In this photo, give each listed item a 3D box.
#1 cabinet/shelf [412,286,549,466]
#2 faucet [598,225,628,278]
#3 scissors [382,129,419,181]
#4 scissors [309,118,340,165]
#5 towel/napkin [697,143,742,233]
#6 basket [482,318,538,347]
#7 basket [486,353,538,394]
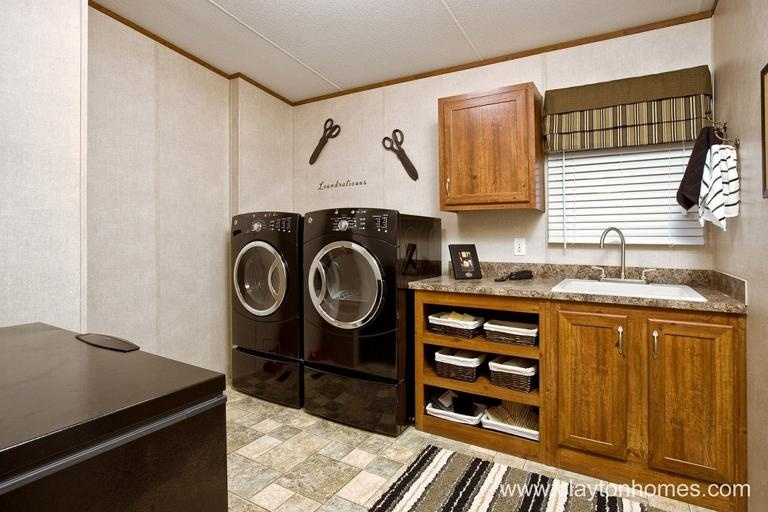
[{"bbox_3d":[0.662,0.828,3.545,1.155,1.085,0.404,-1,-2,26],"label":"cabinet/shelf"},{"bbox_3d":[1.626,-0.020,3.705,0.176,0.373,0.248,0,5,24],"label":"faucet"},{"bbox_3d":[0.179,-0.847,4.453,0.223,0.510,0.076,-34,-10,8],"label":"scissors"},{"bbox_3d":[-0.562,-1.062,4.855,0.360,0.422,0.078,2,6,35],"label":"scissors"},{"bbox_3d":[2.091,-0.441,3.251,0.174,0.517,0.303,0,5,21],"label":"towel/napkin"},{"bbox_3d":[0.856,0.504,3.487,0.248,0.089,0.182,-1,-2,32],"label":"basket"},{"bbox_3d":[0.898,0.789,3.558,0.323,0.178,0.290,0,5,20],"label":"basket"}]
